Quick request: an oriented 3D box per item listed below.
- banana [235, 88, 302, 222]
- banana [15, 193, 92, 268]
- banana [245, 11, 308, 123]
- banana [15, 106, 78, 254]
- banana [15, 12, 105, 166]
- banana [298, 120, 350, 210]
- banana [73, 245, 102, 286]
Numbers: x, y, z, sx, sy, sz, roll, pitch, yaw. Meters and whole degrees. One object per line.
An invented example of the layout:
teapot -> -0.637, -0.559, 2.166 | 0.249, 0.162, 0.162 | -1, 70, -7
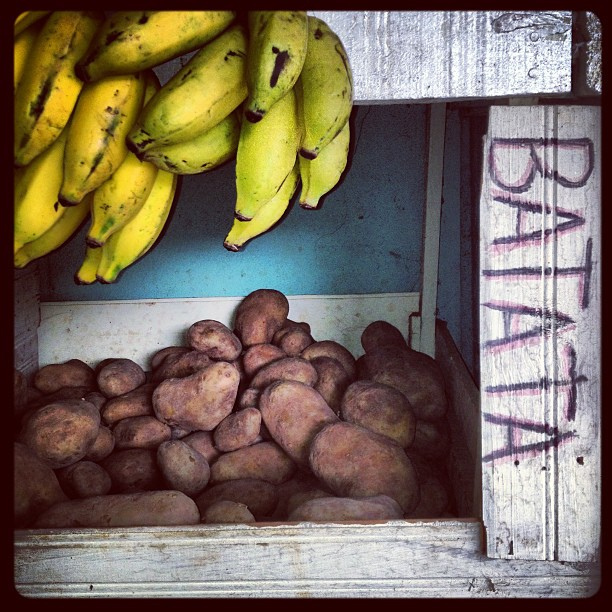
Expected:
banana -> -0.099, -0.264, 1.400 | 0.117, 0.120, 0.377 | -17, -8, -12
banana -> -0.529, -0.109, 1.524 | 0.058, 0.088, 0.244 | 0, -6, -39
banana -> -0.050, -0.408, 1.249 | 0.103, 0.172, 0.137 | 0, 20, -1
banana -> -0.472, -0.239, 1.335 | 0.055, 0.236, 0.082 | 29, 6, -3
banana -> -0.438, -0.388, 1.330 | 0.093, 0.335, 0.087 | 21, 3, -11
banana -> 0.035, -0.257, 1.400 | 0.062, 0.202, 0.068 | 22, 0, -17
banana -> -0.438, -0.073, 1.495 | 0.036, 0.052, 0.126 | 42, 16, -27
